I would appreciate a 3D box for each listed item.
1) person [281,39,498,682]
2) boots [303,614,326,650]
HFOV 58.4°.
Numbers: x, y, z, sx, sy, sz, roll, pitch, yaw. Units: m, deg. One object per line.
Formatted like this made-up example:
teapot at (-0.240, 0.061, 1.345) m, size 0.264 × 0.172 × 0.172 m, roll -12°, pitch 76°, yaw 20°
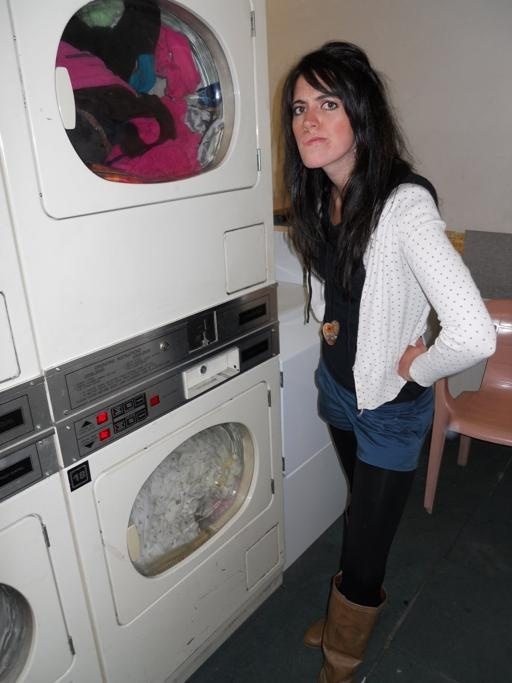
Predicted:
person at (0.264, 0.114, 1.095) m, size 0.333 × 1.434 × 0.542 m, roll -3°, pitch 25°, yaw 4°
boots at (0.169, 0.832, 1.311) m, size 0.047 × 0.033 × 0.076 m, roll 17°, pitch 25°, yaw 30°
